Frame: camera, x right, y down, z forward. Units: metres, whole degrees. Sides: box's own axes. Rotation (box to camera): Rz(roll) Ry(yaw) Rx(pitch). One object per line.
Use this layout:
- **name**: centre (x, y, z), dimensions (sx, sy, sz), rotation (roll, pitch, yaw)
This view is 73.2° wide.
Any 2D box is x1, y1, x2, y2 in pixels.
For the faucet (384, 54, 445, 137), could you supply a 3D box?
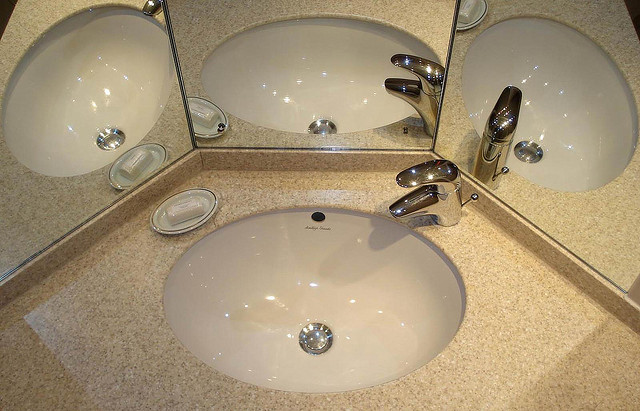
- **faucet**: centre (0.285, -0.326, 1.268), dimensions (0.167, 0.254, 0.082), rotation (2, 55, 8)

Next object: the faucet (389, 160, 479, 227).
- **faucet**: centre (0.308, -0.027, 1.163), dimensions (0.243, 0.234, 0.090), rotation (-22, 50, -4)

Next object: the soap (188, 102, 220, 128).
- **soap**: centre (-0.341, -0.268, 1.280), dimensions (0.080, 0.024, 0.050), rotation (24, 88, -6)
